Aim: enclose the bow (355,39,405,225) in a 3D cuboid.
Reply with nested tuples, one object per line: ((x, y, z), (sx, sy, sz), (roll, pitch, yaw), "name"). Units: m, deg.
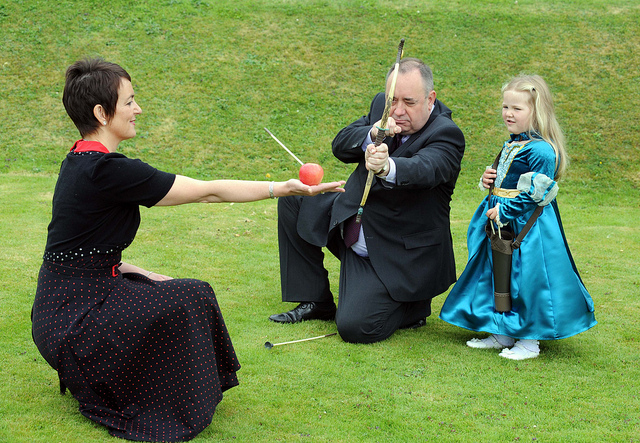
((0.517, -0.737, 6.976), (0.365, 1.738, 0.550), (2, 19, 2), "bow")

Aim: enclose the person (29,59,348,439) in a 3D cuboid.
((-1.430, 0.217, 6.100), (1.564, 2.822, 1.001), (5, 19, 11), "person")

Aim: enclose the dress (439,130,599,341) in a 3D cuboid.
((1.908, 0.128, 7.182), (1.299, 1.818, 0.713), (10, 20, 25), "dress")

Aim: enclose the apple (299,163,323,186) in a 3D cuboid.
((-0.076, -0.408, 6.835), (0.222, 0.177, 0.198), (-1, 1, -21), "apple")

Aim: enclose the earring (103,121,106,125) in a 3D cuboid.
((-1.702, -0.776, 6.183), (0.033, 0.027, 0.007), (1, -1, -17), "earring")
